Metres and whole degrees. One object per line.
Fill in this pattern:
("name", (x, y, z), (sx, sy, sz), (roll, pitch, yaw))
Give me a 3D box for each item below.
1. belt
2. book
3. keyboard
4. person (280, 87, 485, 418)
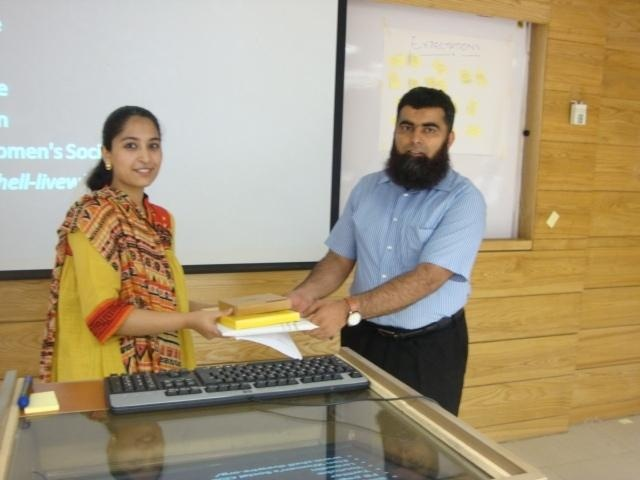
("belt", (0.359, 0.331, 1.859), (0.413, 0.092, 0.100), (0, 13, 2))
("book", (-0.166, 0.187, 1.267), (0.200, 0.062, 0.154), (-5, 12, -19))
("keyboard", (-0.191, 0.332, 1.127), (0.591, 0.053, 0.189), (-4, 12, -16))
("person", (0.230, 0.055, 1.863), (0.792, 1.274, 0.553), (-9, 16, -31))
